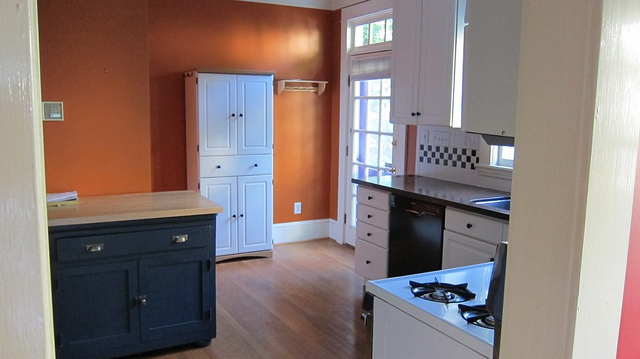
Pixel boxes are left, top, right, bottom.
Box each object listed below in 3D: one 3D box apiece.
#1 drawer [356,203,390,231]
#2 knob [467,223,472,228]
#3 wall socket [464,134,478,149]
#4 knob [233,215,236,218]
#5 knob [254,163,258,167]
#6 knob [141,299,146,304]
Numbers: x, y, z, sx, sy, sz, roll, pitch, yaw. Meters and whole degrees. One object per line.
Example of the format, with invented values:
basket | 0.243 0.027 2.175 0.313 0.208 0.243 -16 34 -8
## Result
drawer | 0.463 0.325 4.066 0.274 0.193 0.098 11 12 43
knob | 1.030 0.321 3.236 0.042 0.030 0.036 1 -4 -33
wall socket | 1.310 -0.328 4.068 0.035 0.127 0.143 3 4 -31
knob | -0.929 0.398 5.050 0.033 0.029 0.032 1 6 -6
knob | -0.703 -0.155 5.100 0.035 0.018 0.034 3 -8 -25
knob | -1.181 0.815 3.131 0.038 0.035 0.011 2 -6 -27
